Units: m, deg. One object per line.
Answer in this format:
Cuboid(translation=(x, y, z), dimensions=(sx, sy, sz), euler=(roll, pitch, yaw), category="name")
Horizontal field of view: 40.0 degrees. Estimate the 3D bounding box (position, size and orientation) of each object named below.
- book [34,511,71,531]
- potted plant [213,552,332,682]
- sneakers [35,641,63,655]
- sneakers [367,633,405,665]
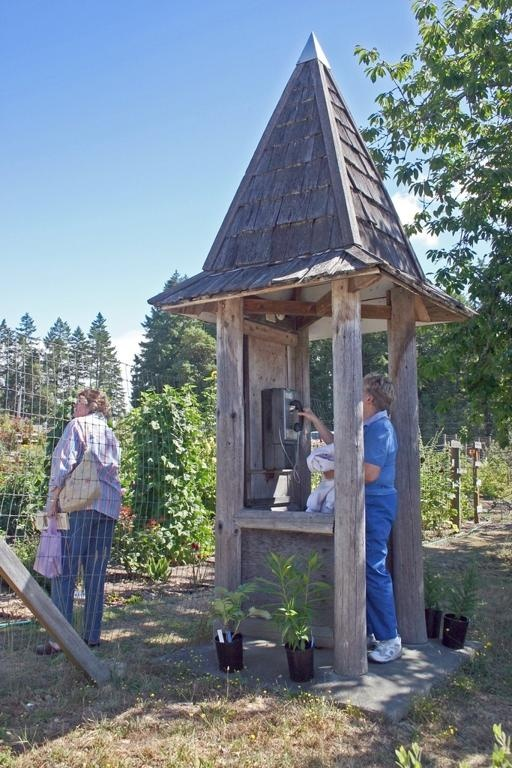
Cuboid(translation=(-1.634, 1.112, 5.712), dimensions=(0.170, 0.115, 0.062), euler=(2, 1, 6), category="book")
Cuboid(translation=(0.063, 1.653, 5.125), dimensions=(0.836, 0.886, 0.877), euler=(-2, -5, 12), category="potted plant")
Cuboid(translation=(-1.608, 2.037, 5.452), dimensions=(0.197, 0.103, 0.150), euler=(2, -8, -7), category="sneakers")
Cuboid(translation=(0.948, 1.954, 5.191), dimensions=(0.161, 0.159, 0.280), euler=(-5, -11, 37), category="sneakers")
